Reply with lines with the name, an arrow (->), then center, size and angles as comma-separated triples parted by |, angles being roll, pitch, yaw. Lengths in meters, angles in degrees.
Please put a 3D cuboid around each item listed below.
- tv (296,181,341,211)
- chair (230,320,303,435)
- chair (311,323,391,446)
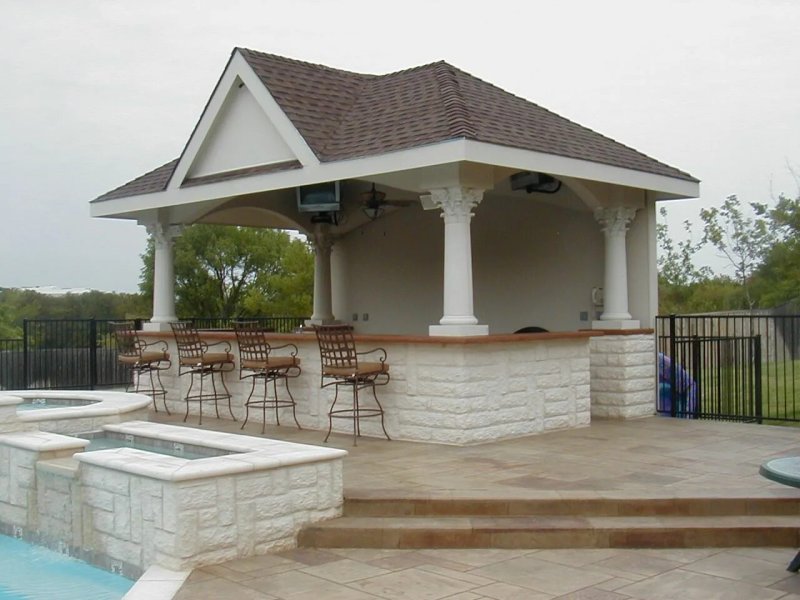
tv -> -1.574, -2.037, 13.301 | 0.991, 0.495, 0.888 | 0, 4, 17
chair -> -2.075, 1.195, 10.706 | 0.953, 1.640, 1.527 | -3, 5, -14
chair -> -0.690, 1.139, 9.538 | 1.097, 1.611, 0.965 | 1, -7, -17
